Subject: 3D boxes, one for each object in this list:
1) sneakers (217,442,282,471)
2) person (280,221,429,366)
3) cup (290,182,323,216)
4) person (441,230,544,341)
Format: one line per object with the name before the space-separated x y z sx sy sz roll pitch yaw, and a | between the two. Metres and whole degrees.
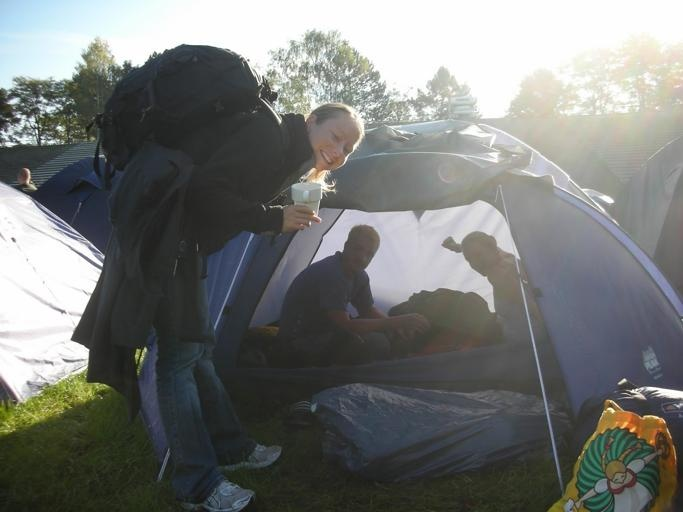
sneakers | -0.540 1.177 2.775 0.330 0.150 0.126 -7 7 -24
person | 0.149 0.274 3.888 1.114 1.145 0.913 -1 0 13
cup | -0.172 -0.291 2.314 0.147 0.145 0.140 -2 15 1
person | 1.156 0.224 3.530 0.243 0.234 0.772 -21 22 5
